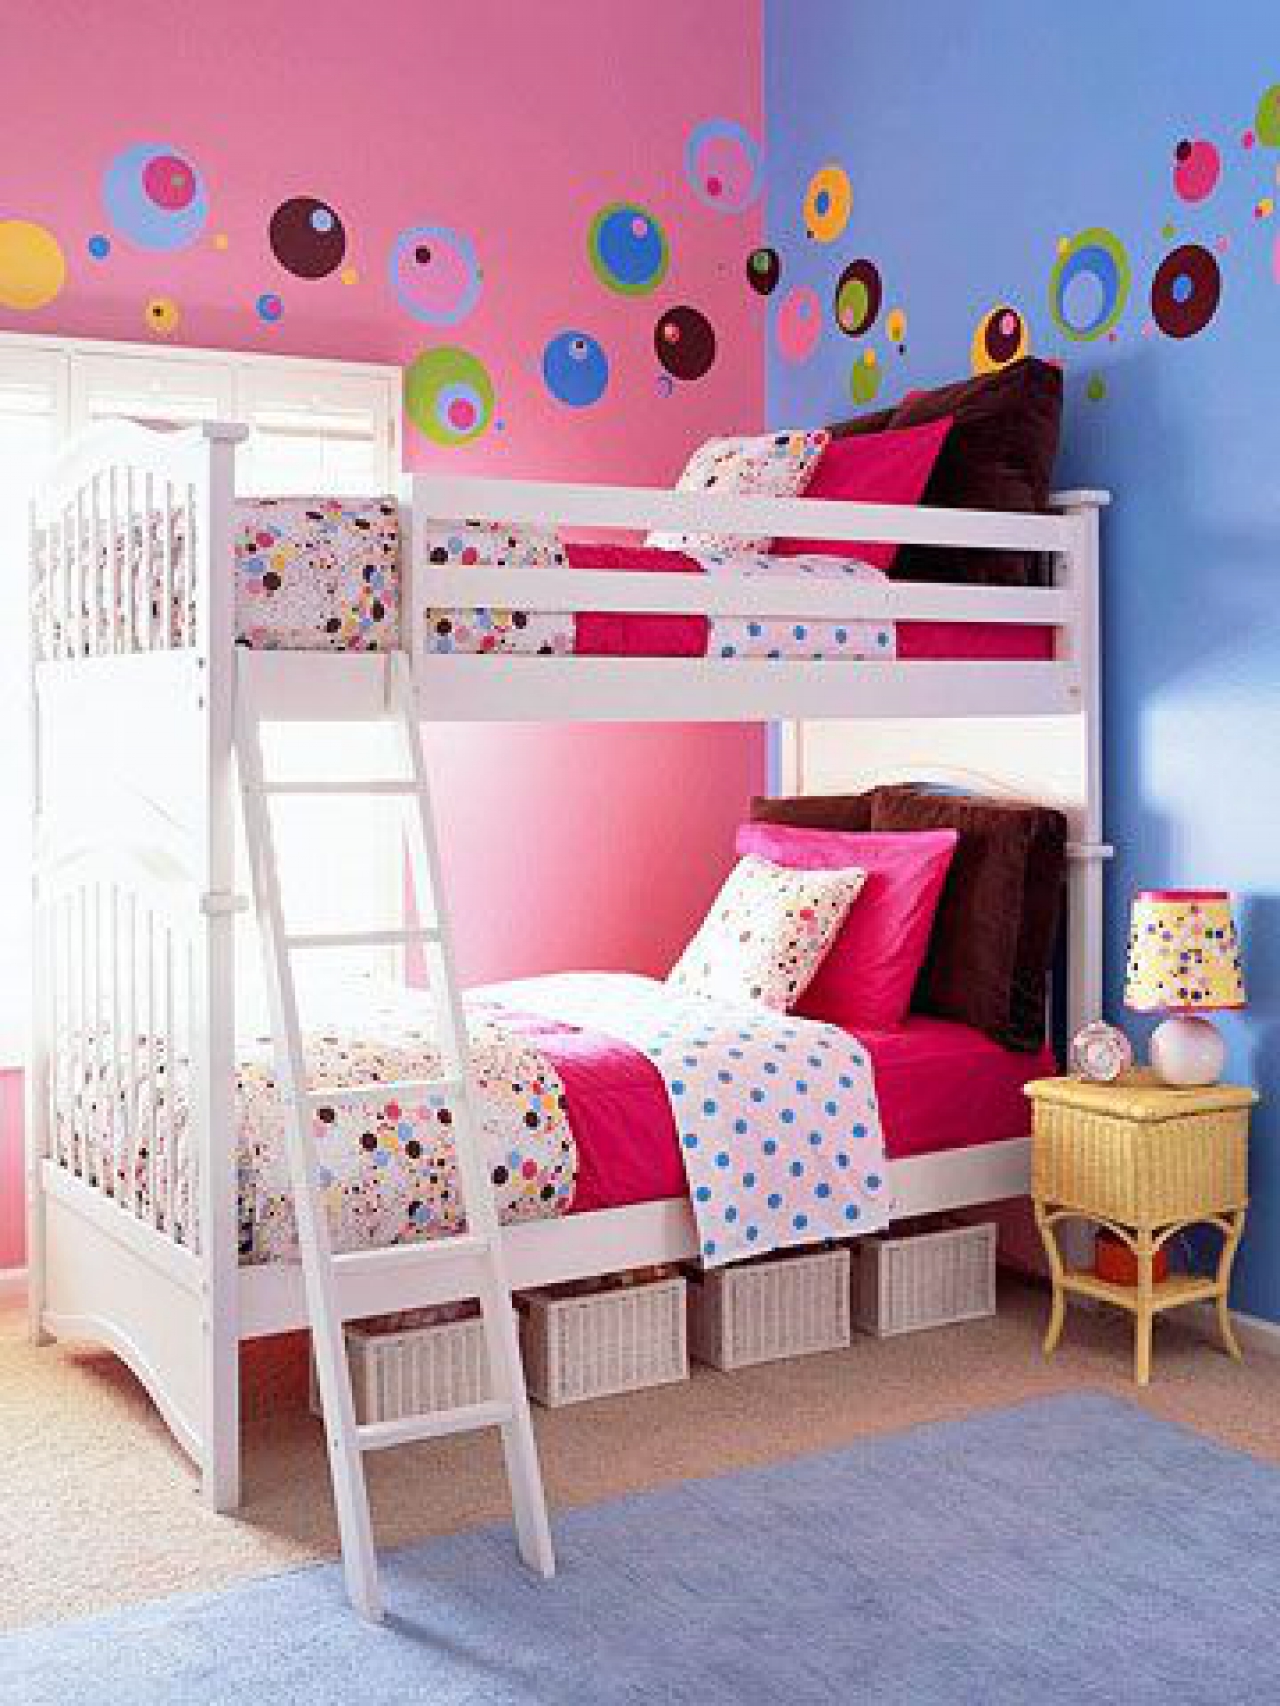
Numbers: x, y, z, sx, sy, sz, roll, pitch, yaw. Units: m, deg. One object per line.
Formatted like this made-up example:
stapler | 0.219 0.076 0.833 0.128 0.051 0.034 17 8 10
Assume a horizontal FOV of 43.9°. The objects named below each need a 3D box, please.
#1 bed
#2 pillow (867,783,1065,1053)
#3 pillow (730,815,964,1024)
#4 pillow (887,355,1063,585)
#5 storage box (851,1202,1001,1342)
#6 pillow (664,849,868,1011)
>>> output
bed | -0.223 0.043 2.973 1.690 1.746 1.530 -1 1 -44
pillow | 0.641 0.150 3.099 0.161 0.432 0.462 6 7 -34
pillow | 0.455 0.143 3.134 0.387 0.356 0.118 5 -13 42
pillow | 0.670 -0.720 3.100 0.134 0.418 0.415 2 7 -42
storage box | 0.538 0.738 3.022 0.324 0.208 0.177 -3 2 -26
pillow | 0.258 0.165 3.176 0.091 0.315 0.330 35 -15 -23
